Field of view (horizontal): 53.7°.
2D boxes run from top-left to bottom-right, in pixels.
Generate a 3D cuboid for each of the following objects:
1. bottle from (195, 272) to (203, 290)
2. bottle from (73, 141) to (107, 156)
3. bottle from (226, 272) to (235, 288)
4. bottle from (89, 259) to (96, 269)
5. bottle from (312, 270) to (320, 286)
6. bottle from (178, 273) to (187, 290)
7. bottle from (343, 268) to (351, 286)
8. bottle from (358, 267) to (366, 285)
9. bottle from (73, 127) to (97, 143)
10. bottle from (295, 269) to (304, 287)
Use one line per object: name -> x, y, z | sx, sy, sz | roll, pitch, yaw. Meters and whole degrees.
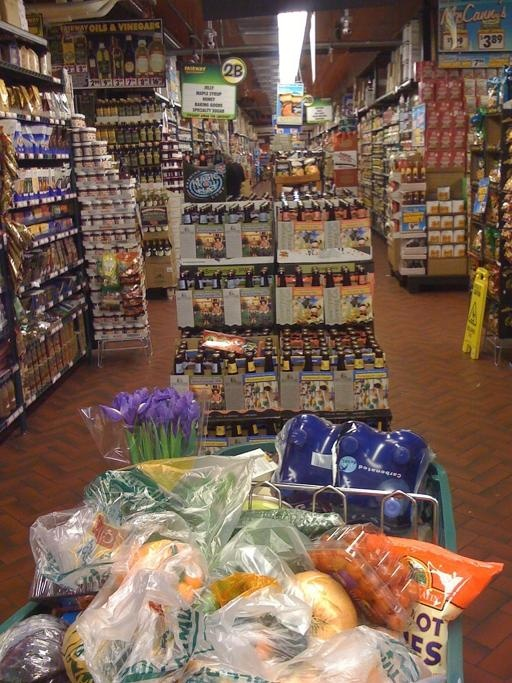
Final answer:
bottle -> -0.456, -0.486, 4.059 | 0.075, 0.114, 0.135 | 9, 4, -13
bottle -> -2.007, -2.314, 6.131 | 0.252, 0.119, 0.250 | 0, 19, 0
bottle -> -0.192, -0.491, 4.039 | 0.074, 0.114, 0.081 | 10, 4, -1
bottle -> -2.040, -0.961, 6.322 | 0.106, 0.098, 0.105 | -1, 11, -2
bottle -> 0.467, -0.484, 3.948 | 0.072, 0.110, 0.059 | 10, 4, 3
bottle -> -0.574, -0.482, 4.056 | 0.080, 0.111, 0.142 | 9, 4, -12
bottle -> 0.704, -0.494, 3.943 | 0.057, 0.117, 0.082 | 8, 4, -22
bottle -> 0.821, -0.508, 3.943 | 0.046, 0.130, 0.068 | 7, 5, -38
bottle -> -2.070, -2.468, 6.125 | 0.208, 0.126, 0.212 | 1, 18, 0
bottle -> 0.338, -0.472, 3.938 | 0.078, 0.108, 0.037 | 10, 3, 0
